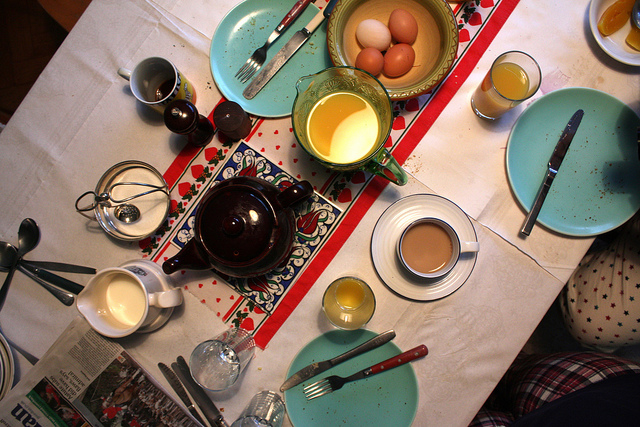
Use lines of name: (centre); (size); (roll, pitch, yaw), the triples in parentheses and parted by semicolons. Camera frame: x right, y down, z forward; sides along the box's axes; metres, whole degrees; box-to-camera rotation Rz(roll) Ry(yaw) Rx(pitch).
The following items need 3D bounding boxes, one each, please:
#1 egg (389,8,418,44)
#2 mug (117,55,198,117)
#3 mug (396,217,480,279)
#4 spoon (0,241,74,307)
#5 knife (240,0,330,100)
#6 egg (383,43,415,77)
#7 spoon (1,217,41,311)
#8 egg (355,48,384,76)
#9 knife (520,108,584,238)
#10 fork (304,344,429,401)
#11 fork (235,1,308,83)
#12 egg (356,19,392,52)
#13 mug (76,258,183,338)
egg: (0.318, -0.703, 1.992); (0.092, 0.095, 0.127); (-36, -86, 29)
mug: (-0.630, -0.513, 1.988); (0.290, 0.197, 0.218); (33, 8, 0)
mug: (0.430, 0.147, 1.906); (0.296, 0.208, 0.150); (21, -24, 6)
spoon: (-1.128, 0.251, 2.047); (0.310, 0.074, 0.043); (50, -20, -23)
knife: (-0.130, -0.634, 2.023); (0.054, 0.509, 0.040); (37, 1, 9)
egg: (0.297, -0.576, 1.938); (0.090, 0.121, 0.098); (28, -39, 40)
spoon: (-1.177, 0.176, 2.093); (0.086, 0.476, 0.074); (16, 2, 13)
egg: (0.191, -0.576, 1.993); (0.090, 0.113, 0.099); (-25, -59, 7)
knife: (0.893, -0.144, 1.956); (0.061, 0.502, 0.038); (20, 2, -6)
fork: (0.186, 0.605, 1.955); (0.449, 0.074, 0.035); (-22, -16, 0)
fork: (-0.188, -0.674, 2.040); (0.044, 0.409, 0.042); (31, 2, 4)
egg: (0.211, -0.676, 1.999); (0.122, 0.098, 0.099); (31, -60, -3)
mug: (-0.715, 0.269, 1.959); (0.352, 0.269, 0.256); (6, 7, 22)
